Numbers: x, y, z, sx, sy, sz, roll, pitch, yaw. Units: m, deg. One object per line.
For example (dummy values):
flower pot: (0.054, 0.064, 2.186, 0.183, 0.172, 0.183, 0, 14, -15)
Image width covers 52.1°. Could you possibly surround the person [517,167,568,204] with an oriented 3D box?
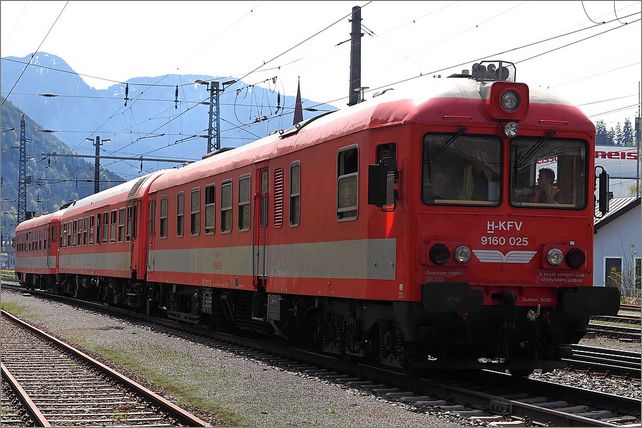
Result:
person: (3.584, -0.458, 10.746, 0.806, 0.587, 0.147, 2, -2, -23)
